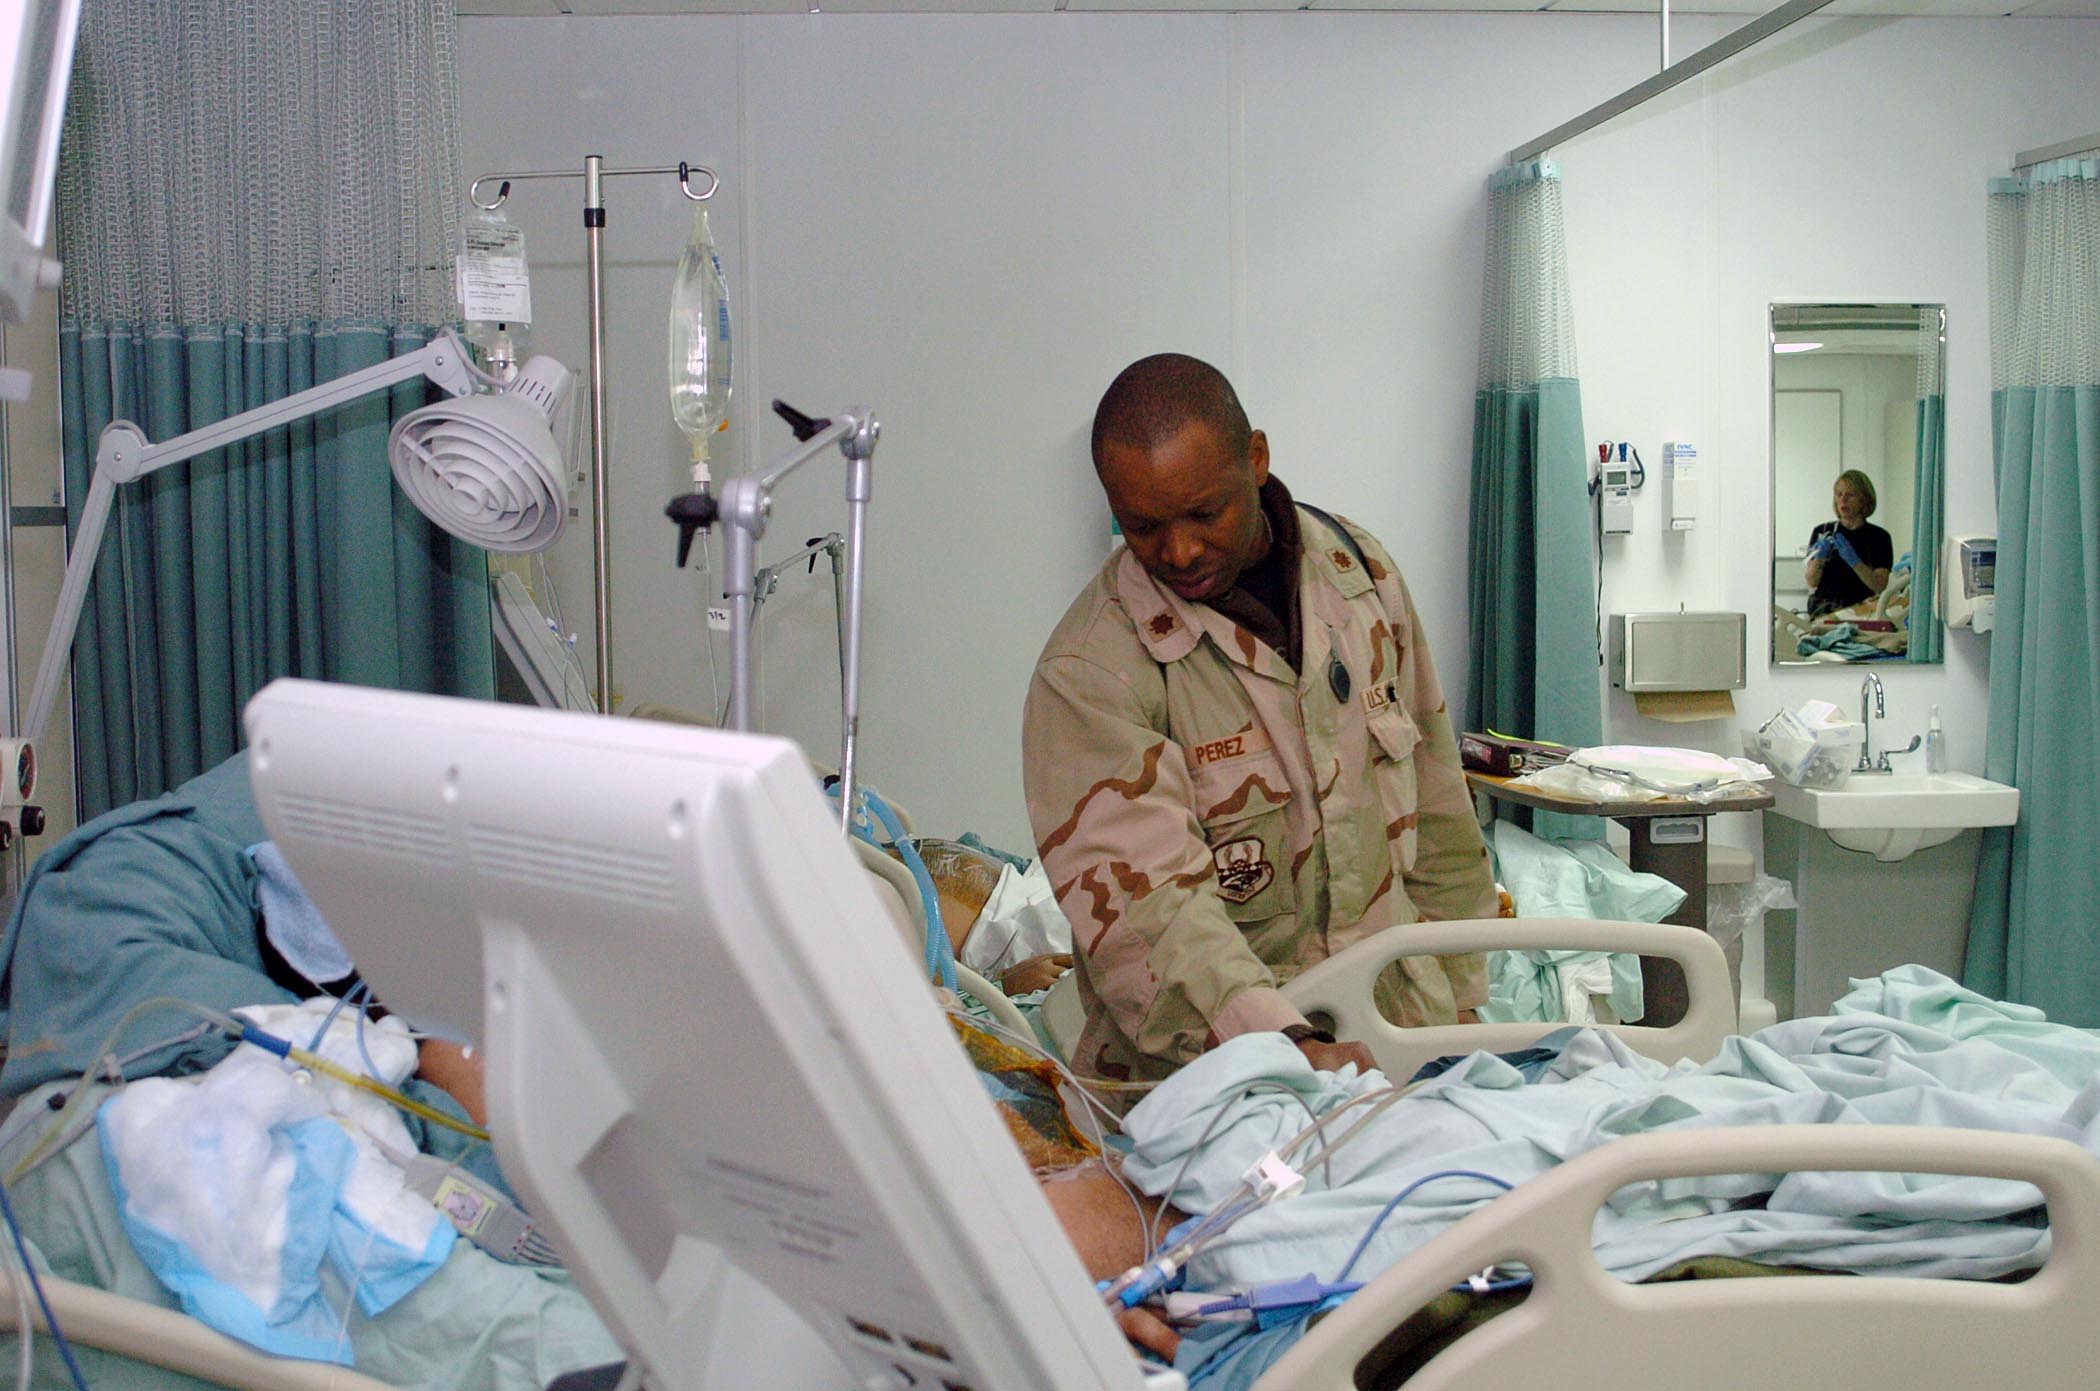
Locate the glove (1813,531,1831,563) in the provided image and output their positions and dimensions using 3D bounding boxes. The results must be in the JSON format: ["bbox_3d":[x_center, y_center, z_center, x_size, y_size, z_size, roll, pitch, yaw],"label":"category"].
[{"bbox_3d":[2.300,-0.456,4.921,0.032,0.076,0.029,20,-11,-30],"label":"glove"}]

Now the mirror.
[{"bbox_3d":[2.318,-0.612,4.749,0.483,1.115,0.047,1,-1,16],"label":"mirror"}]

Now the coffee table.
[{"bbox_3d":[1.744,0.632,4.709,0.490,0.670,0.932,0,-4,16],"label":"coffee table"}]
